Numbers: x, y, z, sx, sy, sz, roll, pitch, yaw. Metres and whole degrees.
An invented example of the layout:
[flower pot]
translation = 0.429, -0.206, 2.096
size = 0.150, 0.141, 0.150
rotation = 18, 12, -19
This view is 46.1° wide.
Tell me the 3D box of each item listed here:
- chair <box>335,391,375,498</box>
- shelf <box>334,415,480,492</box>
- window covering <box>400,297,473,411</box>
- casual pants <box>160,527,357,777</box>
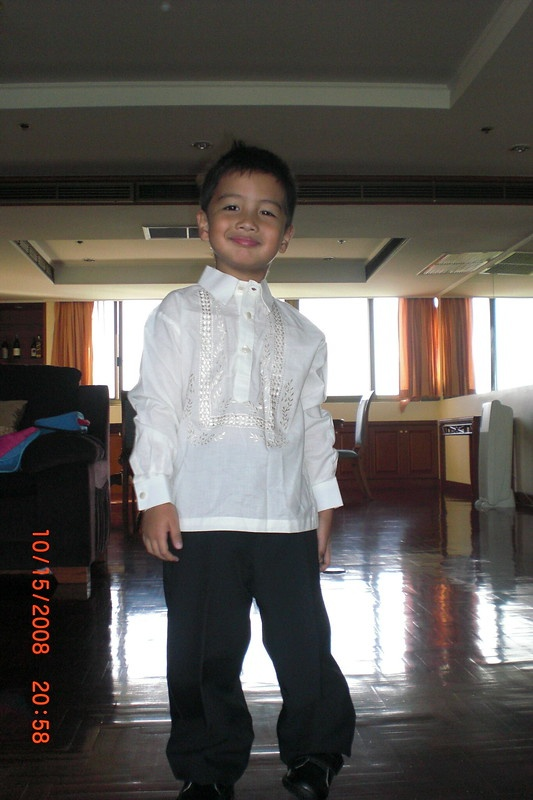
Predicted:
[chair]
translation = 0.728, 0.413, 6.173
size = 0.637, 0.968, 0.555
rotation = -1, 0, -3
[shelf]
translation = 1.694, 0.676, 7.726
size = 0.588, 0.853, 1.637
rotation = 3, -6, -33
[window covering]
translation = 2.090, -0.651, 7.799
size = 0.893, 1.253, 0.193
rotation = -3, -5, 12
[casual pants]
translation = -0.006, 0.347, 0.881
size = 0.259, 0.338, 0.084
rotation = 0, -5, -25
